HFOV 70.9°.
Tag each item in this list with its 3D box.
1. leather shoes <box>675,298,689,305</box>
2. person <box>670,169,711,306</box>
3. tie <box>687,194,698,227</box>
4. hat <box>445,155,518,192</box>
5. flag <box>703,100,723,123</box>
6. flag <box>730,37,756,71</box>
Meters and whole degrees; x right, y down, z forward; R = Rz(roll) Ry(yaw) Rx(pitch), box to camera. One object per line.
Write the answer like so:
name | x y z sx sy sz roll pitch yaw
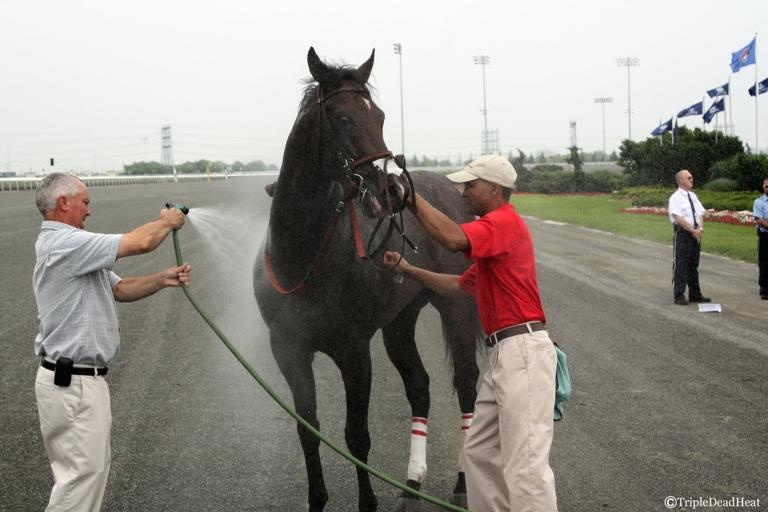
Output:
leather shoes | 5.441 0.847 9.924 0.221 0.102 0.221 3 11 20
person | 5.620 -0.328 9.983 0.644 2.392 0.613 -1 9 -1
tie | 5.643 -0.808 9.934 0.215 0.592 0.134 6 11 37
hat | 0.750 -0.621 4.128 0.552 0.283 0.371 6 1 8
flag | 17.926 -7.889 29.497 0.651 1.106 1.133 1 10 12
flag | 15.962 -8.817 24.075 0.585 1.083 1.679 3 11 21
